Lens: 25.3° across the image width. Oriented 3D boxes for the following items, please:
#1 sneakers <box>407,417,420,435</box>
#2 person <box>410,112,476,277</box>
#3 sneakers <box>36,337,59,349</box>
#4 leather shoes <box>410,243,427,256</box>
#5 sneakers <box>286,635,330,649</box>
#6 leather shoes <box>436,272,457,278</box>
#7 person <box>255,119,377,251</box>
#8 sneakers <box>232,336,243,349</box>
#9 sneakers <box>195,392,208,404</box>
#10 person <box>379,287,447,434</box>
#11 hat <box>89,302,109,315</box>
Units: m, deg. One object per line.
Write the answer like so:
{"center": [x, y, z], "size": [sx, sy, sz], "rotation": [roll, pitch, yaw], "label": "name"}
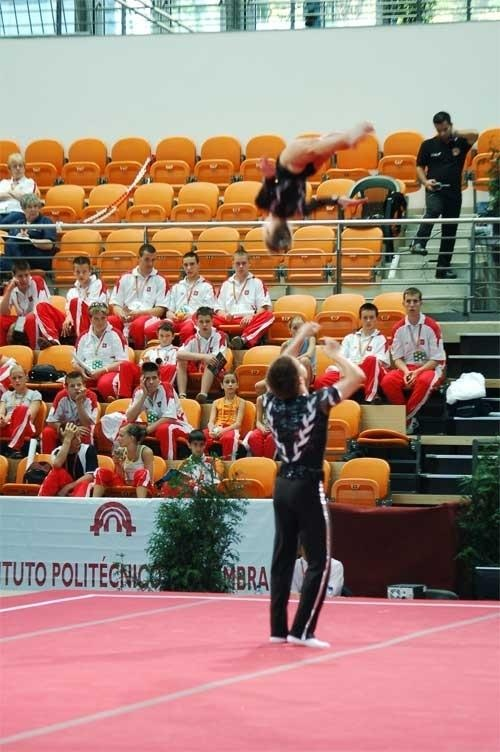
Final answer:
{"center": [1.367, 0.417, 9.402], "size": [0.124, 0.138, 0.359], "rotation": [-2, -6, 8], "label": "sneakers"}
{"center": [1.904, -1.794, 11.034], "size": [0.599, 1.648, 0.976], "rotation": [1, 6, 10], "label": "person"}
{"center": [-1.932, -0.303, 10.605], "size": [0.239, 0.076, 0.164], "rotation": [2, -9, 0], "label": "sneakers"}
{"center": [1.628, -1.222, 10.806], "size": [0.094, 0.112, 0.255], "rotation": [1, 13, -5], "label": "leather shoes"}
{"center": [0.276, 1.238, 5.208], "size": [0.176, 0.064, 0.064], "rotation": [-4, -8, 15], "label": "sneakers"}
{"center": [1.941, -1.008, 11.056], "size": [0.196, 0.081, 0.196], "rotation": [-1, 6, -11], "label": "leather shoes"}
{"center": [0.287, -1.066, 5.795], "size": [0.545, 0.732, 0.214], "rotation": [35, 36, -15], "label": "person"}
{"center": [-0.119, -0.302, 10.349], "size": [0.072, 0.136, 0.092], "rotation": [5, 40, 3], "label": "sneakers"}
{"center": [-0.429, 0.195, 9.776], "size": [0.082, 0.102, 0.196], "rotation": [1, 6, 1], "label": "sneakers"}
{"center": [1.399, -0.162, 9.575], "size": [0.533, 1.169, 0.711], "rotation": [1, 6, 8], "label": "person"}
{"center": [-1.390, -0.618, 10.252], "size": [0.165, 0.090, 0.203], "rotation": [2, -7, -10], "label": "hat"}
